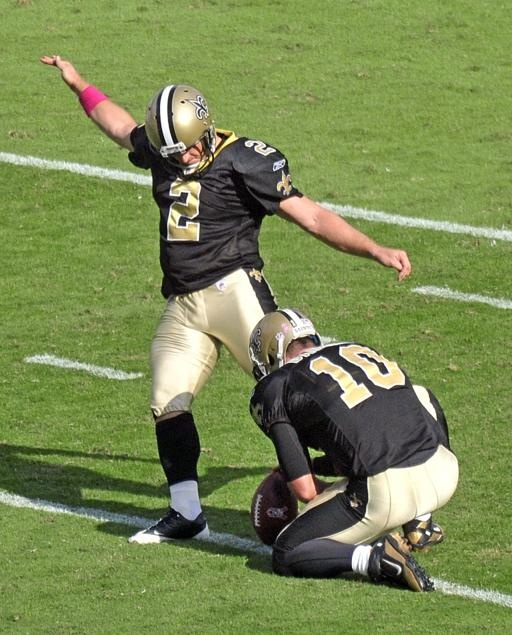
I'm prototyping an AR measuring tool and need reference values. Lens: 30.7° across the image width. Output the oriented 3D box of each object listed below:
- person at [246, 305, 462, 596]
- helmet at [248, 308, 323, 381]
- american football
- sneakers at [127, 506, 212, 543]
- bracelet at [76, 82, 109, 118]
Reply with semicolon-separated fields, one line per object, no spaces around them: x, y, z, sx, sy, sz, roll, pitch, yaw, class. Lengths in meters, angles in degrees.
0.332;0.523;3.746;0.816;0.632;1.062;-22;33;-22;person
0.111;0.154;4.016;0.347;0.306;0.280;1;2;36;helmet
0.067;0.813;4.087;0.191;0.282;0.214;11;4;24;american football
-0.387;0.946;4.220;0.382;0.135;0.124;-2;1;-25;sneakers
-0.927;-1.213;5.262;0.159;0.155;0.180;11;-22;-13;bracelet
